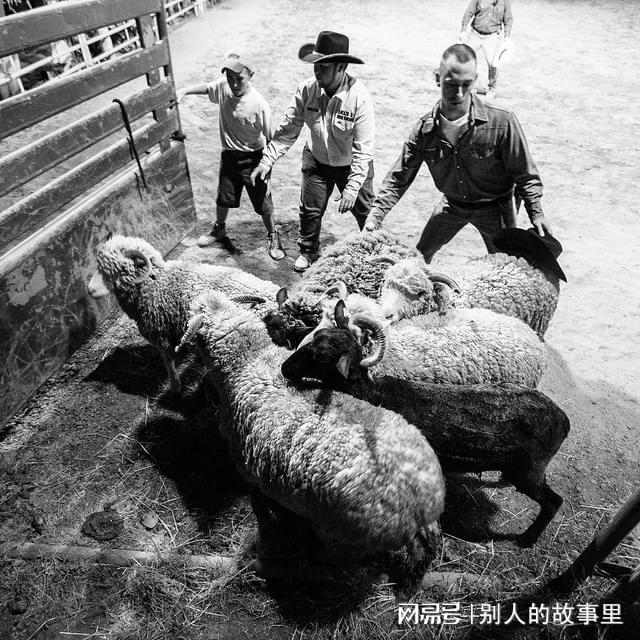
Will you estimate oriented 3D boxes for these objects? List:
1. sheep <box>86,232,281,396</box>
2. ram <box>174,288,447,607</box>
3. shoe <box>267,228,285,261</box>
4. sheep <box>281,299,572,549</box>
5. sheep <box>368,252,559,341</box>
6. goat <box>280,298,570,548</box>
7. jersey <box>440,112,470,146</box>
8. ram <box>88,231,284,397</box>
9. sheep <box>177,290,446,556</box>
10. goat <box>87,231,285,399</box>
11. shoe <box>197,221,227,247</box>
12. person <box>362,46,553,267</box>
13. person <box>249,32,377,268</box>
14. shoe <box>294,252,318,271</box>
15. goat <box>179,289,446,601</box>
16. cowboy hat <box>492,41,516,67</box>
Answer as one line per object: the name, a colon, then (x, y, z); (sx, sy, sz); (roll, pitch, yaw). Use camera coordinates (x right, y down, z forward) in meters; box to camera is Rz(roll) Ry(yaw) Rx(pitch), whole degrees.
sheep: (-1.073, 0.036, 5.586); (1.692, 1.332, 0.605); (4, 20, -1)
ram: (-0.018, 0.880, 4.275); (0.764, 1.592, 1.944); (-32, 44, -31)
shoe: (-0.490, -0.812, 7.247); (0.130, 0.166, 0.391); (-13, 64, 8)
sheep: (0.742, 0.741, 4.371); (2.067, 1.530, 0.794); (7, 16, -8)
sheep: (1.152, -0.168, 5.259); (1.230, 0.807, 1.339); (14, 32, 15)
goat: (0.735, 0.723, 4.366); (1.994, 1.508, 0.881); (8, 19, -10)
jersey: (1.161, -1.627, 5.533); (0.178, 0.245, 0.209); (-10, 7, 17)
ram: (-1.182, -0.330, 5.519); (1.168, 1.363, 1.432); (25, 37, 21)
sheep: (-0.016, 0.676, 4.458); (1.237, 1.645, 1.584); (32, 30, 13)
goat: (-1.316, -0.149, 5.319); (2.031, 1.594, 0.815); (6, 16, 4)
shoe: (-1.238, -0.980, 7.453); (0.325, 0.189, 0.118); (-33, 70, -19)
person: (1.258, -1.246, 5.743); (1.441, 2.269, 0.883); (11, 37, 14)
person: (0.005, -1.547, 6.440); (1.497, 2.378, 1.143); (-9, 40, -12)
shoe: (-0.137, -0.675, 7.051); (0.131, 0.139, 0.317); (14, 38, 37)
goat: (-0.185, 0.898, 4.630); (0.927, 1.567, 2.250); (-24, 42, -39)
cowboy hat: (3.205, -4.480, 11.057); (0.124, 0.490, 0.324); (10, 20, -35)
